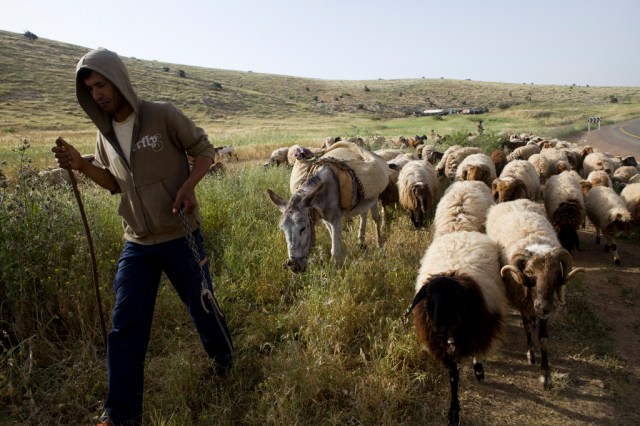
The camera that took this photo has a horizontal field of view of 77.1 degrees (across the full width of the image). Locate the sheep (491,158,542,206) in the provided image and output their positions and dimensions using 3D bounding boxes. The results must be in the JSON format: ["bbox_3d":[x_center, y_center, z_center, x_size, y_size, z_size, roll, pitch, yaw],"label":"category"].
[{"bbox_3d":[4.951,-0.580,10.297,0.873,1.141,1.959,-18,10,35],"label":"sheep"}]

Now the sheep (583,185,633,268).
[{"bbox_3d":[7.029,0.244,9.736,0.605,1.483,1.619,2,15,9],"label":"sheep"}]

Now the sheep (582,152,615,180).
[{"bbox_3d":[9.921,-1.695,14.355,0.579,1.036,2.011,-14,6,35],"label":"sheep"}]

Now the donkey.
[{"bbox_3d":[0.167,-0.143,8.054,1.484,2.261,3.215,7,16,27],"label":"donkey"}]

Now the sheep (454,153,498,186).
[{"bbox_3d":[4.413,-1.461,11.225,0.948,1.188,3.044,-2,-5,21],"label":"sheep"}]
